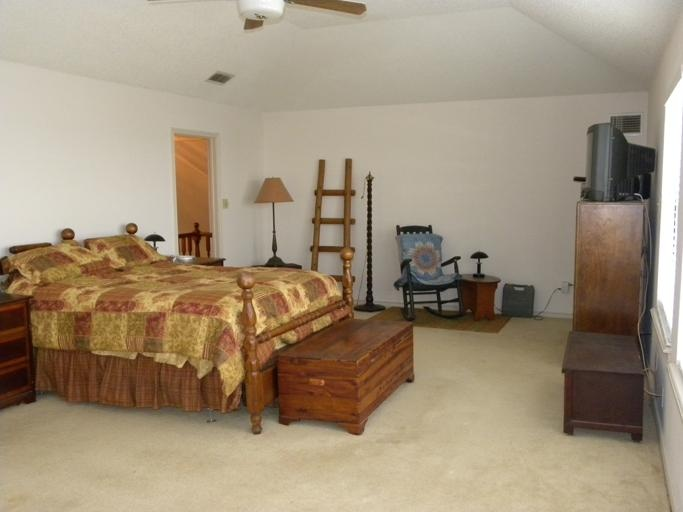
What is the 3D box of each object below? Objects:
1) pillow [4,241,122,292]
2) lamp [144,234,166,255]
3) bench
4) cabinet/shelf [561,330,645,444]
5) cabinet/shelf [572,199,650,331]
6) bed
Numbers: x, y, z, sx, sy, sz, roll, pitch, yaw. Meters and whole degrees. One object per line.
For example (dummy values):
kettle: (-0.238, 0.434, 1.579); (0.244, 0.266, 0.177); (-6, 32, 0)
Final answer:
pillow: (-2.460, 0.064, 4.782); (0.460, 0.157, 0.602); (22, 23, 37)
lamp: (-2.027, -0.127, 5.913); (0.223, 0.218, 0.218); (0, 0, -34)
bench: (-0.043, 0.642, 3.984); (0.617, 0.509, 1.201); (0, 5, 20)
cabinet/shelf: (1.815, 0.868, 3.789); (0.542, 0.446, 0.934); (0, 4, 19)
cabinet/shelf: (2.138, 0.096, 4.338); (0.502, 1.057, 0.226); (4, 12, 23)
bed: (-1.413, 0.474, 4.395); (2.066, 0.991, 1.711); (2, 10, 17)
